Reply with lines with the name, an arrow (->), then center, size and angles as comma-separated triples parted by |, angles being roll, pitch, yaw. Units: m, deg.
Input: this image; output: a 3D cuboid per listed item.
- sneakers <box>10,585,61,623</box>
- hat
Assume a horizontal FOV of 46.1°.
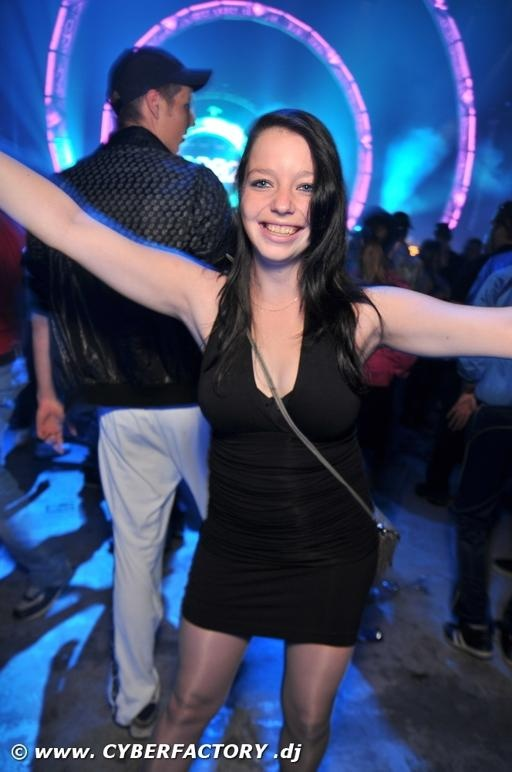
sneakers -> -0.993, 0.985, 2.720 | 0.095, 0.046, 0.134 | 12, 30, 37
hat -> -0.332, -1.019, 2.038 | 0.326, 0.185, 0.209 | -29, 34, 2
